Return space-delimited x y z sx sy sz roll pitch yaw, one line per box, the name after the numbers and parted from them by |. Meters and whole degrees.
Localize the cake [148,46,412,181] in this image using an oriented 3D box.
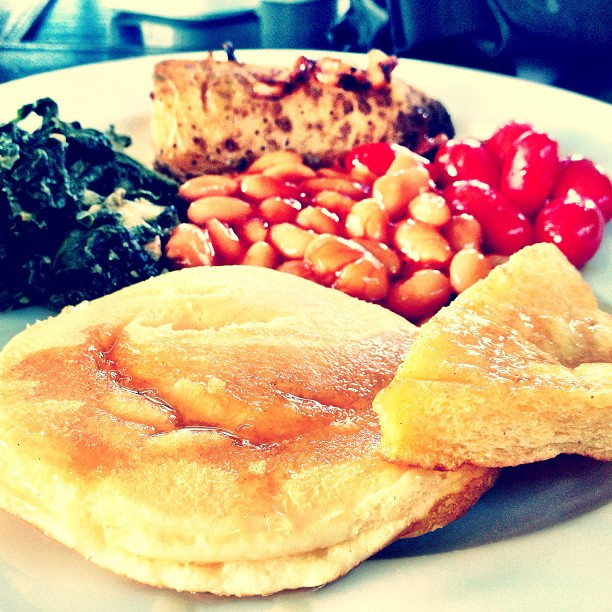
-0.049 -0.330 1.497 0.451 0.159 0.192 1 17 -4 | cake

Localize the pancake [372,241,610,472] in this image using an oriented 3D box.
0.277 0.077 1.066 0.243 0.142 0.410 21 43 25 | pancake

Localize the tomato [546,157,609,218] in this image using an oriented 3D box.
0.434 -0.191 1.404 0.133 0.077 0.039 -9 20 -2 | tomato

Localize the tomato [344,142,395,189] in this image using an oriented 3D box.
0.106 -0.240 1.423 0.094 0.037 0.080 -15 36 -1 | tomato
